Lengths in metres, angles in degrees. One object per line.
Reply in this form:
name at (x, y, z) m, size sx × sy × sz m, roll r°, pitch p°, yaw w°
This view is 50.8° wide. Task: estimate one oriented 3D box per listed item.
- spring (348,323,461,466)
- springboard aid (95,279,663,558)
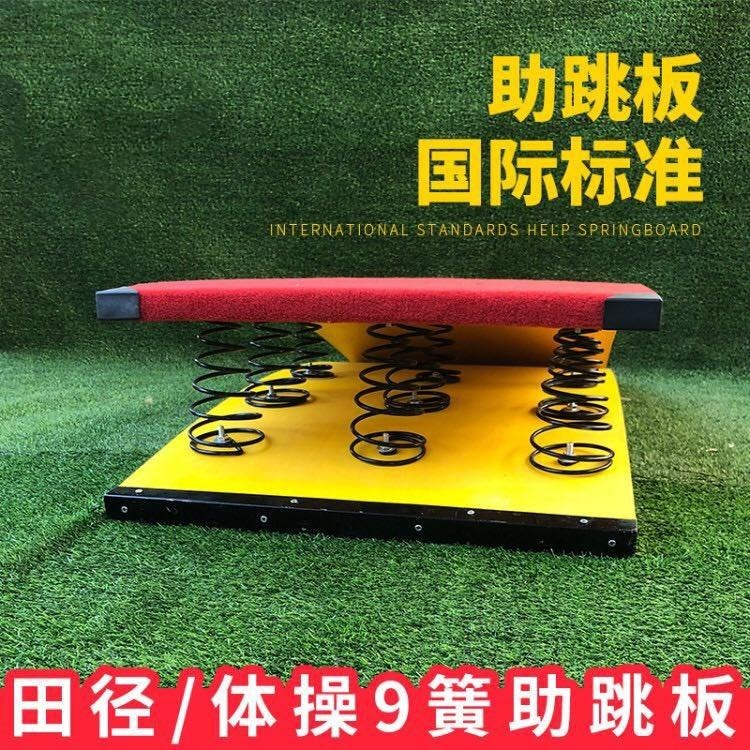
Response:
spring at (0.078, 0.032, 1.670) m, size 0.178 × 0.127 × 0.428 m, roll 0°, pitch 10°, yaw 6°
springboard aid at (0.162, 0.022, 1.966) m, size 1.079 × 0.305 × 1.124 m, roll 2°, pitch -2°, yaw 16°
